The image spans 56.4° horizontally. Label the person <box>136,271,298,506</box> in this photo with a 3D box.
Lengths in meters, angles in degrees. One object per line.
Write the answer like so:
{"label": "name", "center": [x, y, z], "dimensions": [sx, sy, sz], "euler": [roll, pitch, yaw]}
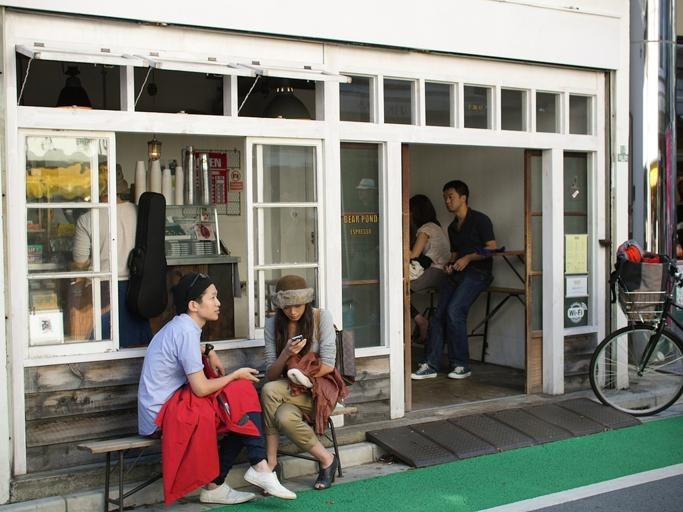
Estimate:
{"label": "person", "center": [-0.920, 0.941, 4.294], "dimensions": [0.873, 1.595, 0.507], "euler": [-2, 7, -20]}

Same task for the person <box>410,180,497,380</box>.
{"label": "person", "center": [1.321, 0.275, 7.241], "dimensions": [0.601, 2.238, 0.974], "euler": [6, 9, 42]}

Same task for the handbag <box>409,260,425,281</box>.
{"label": "handbag", "center": [0.880, 0.171, 7.525], "dimensions": [0.223, 0.091, 0.189], "euler": [1, 26, 30]}

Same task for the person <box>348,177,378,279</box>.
{"label": "person", "center": [0.190, -0.236, 5.640], "dimensions": [0.314, 0.876, 0.078], "euler": [-3, 7, -23]}

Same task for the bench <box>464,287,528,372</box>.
{"label": "bench", "center": [1.877, 0.885, 7.654], "dimensions": [0.328, 0.885, 0.940], "euler": [3, -3, -18]}

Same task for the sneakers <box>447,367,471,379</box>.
{"label": "sneakers", "center": [1.309, 1.320, 7.154], "dimensions": [0.271, 0.117, 0.105], "euler": [7, -10, -43]}

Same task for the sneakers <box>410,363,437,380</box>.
{"label": "sneakers", "center": [0.925, 1.307, 7.133], "dimensions": [0.354, 0.168, 0.131], "euler": [3, -3, -30]}

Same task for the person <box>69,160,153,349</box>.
{"label": "person", "center": [-1.764, -0.002, 5.032], "dimensions": [0.443, 1.431, 0.705], "euler": [0, 6, -2]}

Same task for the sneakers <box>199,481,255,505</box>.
{"label": "sneakers", "center": [-0.802, 1.652, 4.455], "dimensions": [0.370, 0.155, 0.145], "euler": [0, -2, -7]}

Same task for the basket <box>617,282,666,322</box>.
{"label": "basket", "center": [2.803, 0.425, 5.869], "dimensions": [0.307, 0.221, 0.314], "euler": [1, -3, -2]}

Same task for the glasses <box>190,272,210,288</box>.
{"label": "glasses", "center": [-0.971, 0.153, 4.352], "dimensions": [0.094, 0.106, 0.030], "euler": [2, 18, -31]}

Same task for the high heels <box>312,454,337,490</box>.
{"label": "high heels", "center": [-0.123, 1.602, 4.597], "dimensions": [0.101, 0.145, 0.320], "euler": [-2, -8, 14]}

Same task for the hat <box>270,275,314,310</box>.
{"label": "hat", "center": [-0.351, 0.266, 4.620], "dimensions": [0.221, 0.192, 0.247], "euler": [-3, 0, -1]}

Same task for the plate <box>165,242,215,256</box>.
{"label": "plate", "center": [-1.394, -0.068, 5.859], "dimensions": [0.446, 0.112, 0.106], "euler": [-1, 7, -14]}
